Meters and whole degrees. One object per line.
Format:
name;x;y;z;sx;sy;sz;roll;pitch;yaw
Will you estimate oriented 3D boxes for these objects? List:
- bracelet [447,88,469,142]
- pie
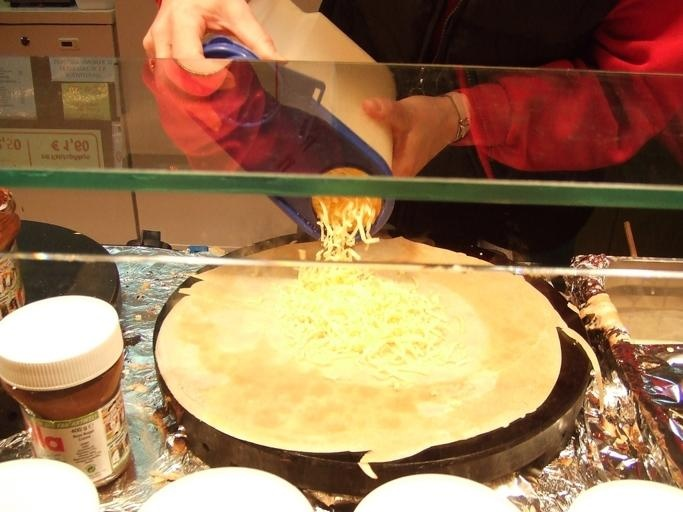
bracelet;0.168;-0.206;0.796;0.027;0.064;0.043;-5;10;-28
pie;0.031;0.146;0.967;0.723;0.116;0.524;11;40;4
